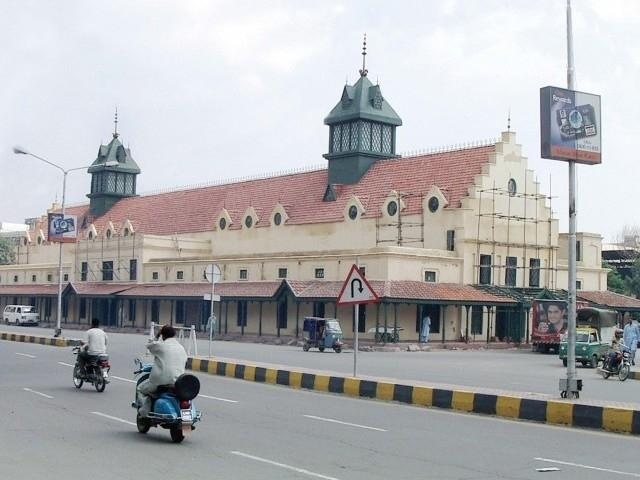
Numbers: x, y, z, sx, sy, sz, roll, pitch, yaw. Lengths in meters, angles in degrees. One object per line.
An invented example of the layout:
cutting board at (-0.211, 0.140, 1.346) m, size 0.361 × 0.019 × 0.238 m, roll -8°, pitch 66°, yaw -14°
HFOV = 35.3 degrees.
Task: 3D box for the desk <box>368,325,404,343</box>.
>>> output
desk at (3.630, 5.114, 54.763) m, size 0.849 × 0.644 × 1.538 m, roll 0°, pitch -4°, yaw -31°

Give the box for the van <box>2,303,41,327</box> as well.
van at (-23.146, 5.866, 78.464) m, size 1.570 × 1.360 × 2.776 m, roll 3°, pitch -5°, yaw -41°

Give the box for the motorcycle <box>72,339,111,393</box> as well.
motorcycle at (-7.047, 4.146, 31.683) m, size 0.796 × 1.275 × 1.922 m, roll 1°, pitch -2°, yaw -34°

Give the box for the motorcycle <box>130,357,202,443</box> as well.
motorcycle at (-3.722, 3.998, 24.498) m, size 1.540 × 1.452 × 0.694 m, roll 1°, pitch -1°, yaw 37°
